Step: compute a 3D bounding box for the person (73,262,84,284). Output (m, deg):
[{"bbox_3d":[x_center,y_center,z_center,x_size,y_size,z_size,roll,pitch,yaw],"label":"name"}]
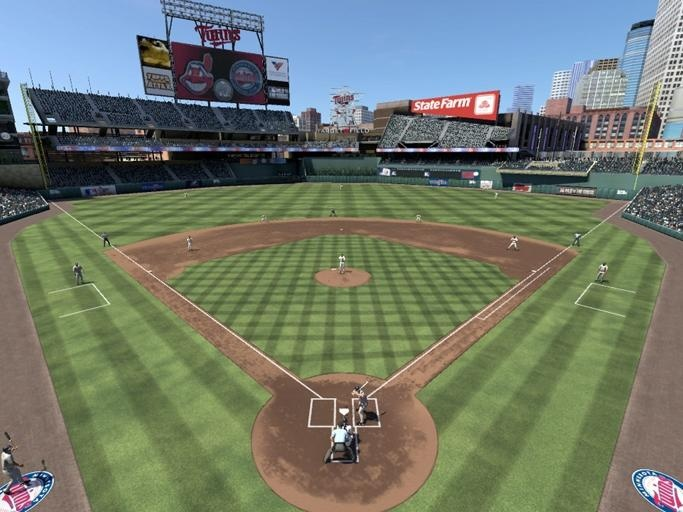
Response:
[{"bbox_3d":[-19.854,1.277,32.309,0.677,1.465,1.513,-17,28,-29],"label":"person"}]
